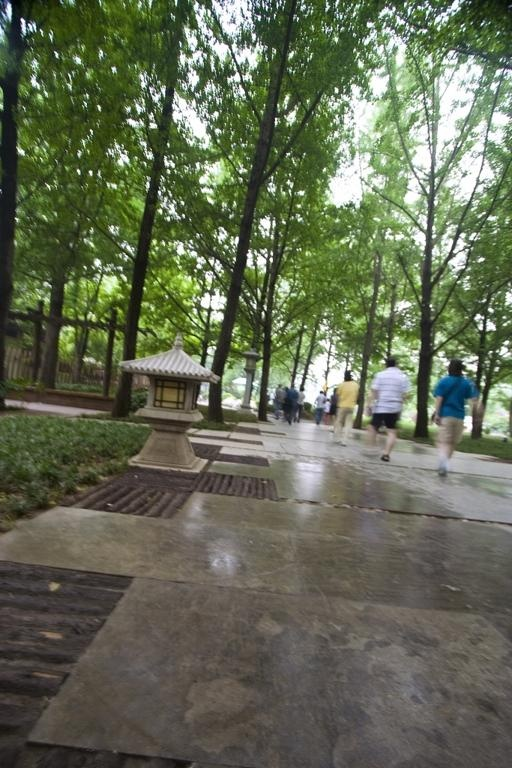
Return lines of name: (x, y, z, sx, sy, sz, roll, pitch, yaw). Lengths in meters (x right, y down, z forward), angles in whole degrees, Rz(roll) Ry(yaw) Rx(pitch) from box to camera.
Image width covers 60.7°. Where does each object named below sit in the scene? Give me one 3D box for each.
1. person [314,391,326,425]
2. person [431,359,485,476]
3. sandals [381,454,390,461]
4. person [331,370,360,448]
person: (3.273, 1.212, 21.810, 0.471, 1.608, 2.158, 5, -2, 9)
person: (3.373, 0.579, 7.445, 0.698, 1.655, 1.075, 5, -1, 24)
sandals: (2.575, 1.467, 8.684, 0.162, 0.117, 0.313, 6, -2, 17)
person: (2.458, 0.613, 12.058, 0.572, 1.981, 0.592, 6, 8, -7)
